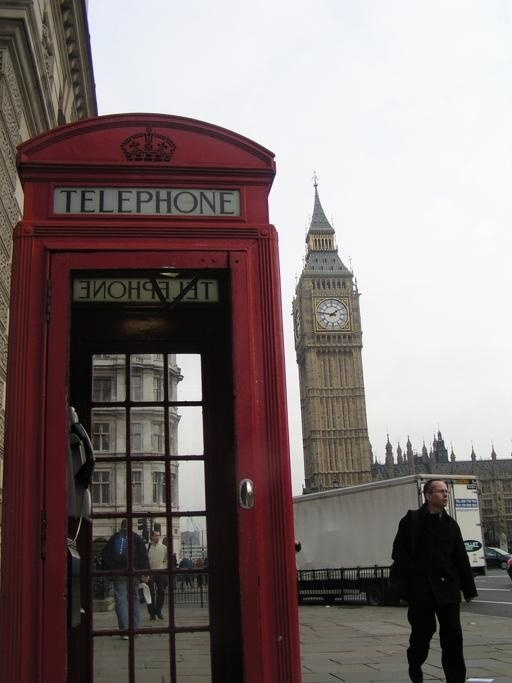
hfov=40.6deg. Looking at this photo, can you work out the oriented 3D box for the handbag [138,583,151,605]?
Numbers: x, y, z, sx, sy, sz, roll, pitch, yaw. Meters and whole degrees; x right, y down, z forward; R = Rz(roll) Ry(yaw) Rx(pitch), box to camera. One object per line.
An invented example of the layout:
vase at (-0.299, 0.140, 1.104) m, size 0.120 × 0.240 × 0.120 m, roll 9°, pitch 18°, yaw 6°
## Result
handbag at (-0.556, 1.251, 3.434) m, size 0.073 × 0.107 × 0.040 m, roll -13°, pitch -17°, yaw 33°
